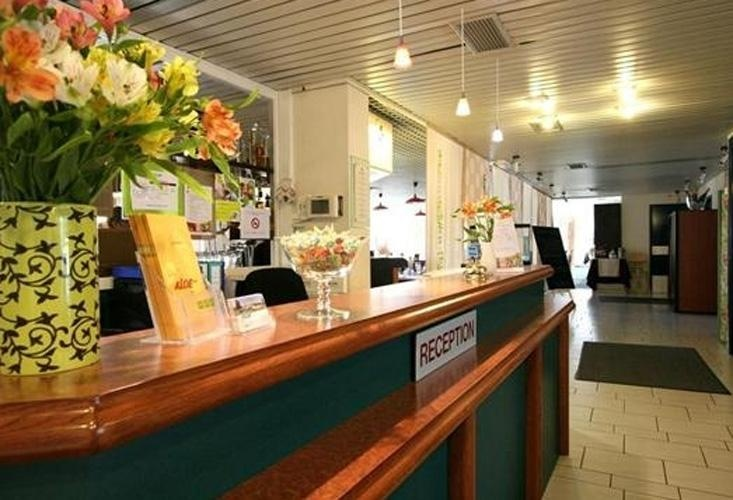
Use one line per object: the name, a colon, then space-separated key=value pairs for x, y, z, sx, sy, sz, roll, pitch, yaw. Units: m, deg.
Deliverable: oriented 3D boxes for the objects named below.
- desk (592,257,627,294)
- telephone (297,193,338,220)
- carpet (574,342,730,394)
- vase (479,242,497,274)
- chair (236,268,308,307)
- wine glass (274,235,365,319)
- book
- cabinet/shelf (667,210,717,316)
desk: x=6.478 y=0.625 z=13.430 sx=0.773 sy=0.866 sz=0.797 roll=0 pitch=3 yaw=23
telephone: x=-0.497 y=-0.465 z=5.442 sx=0.478 sy=0.238 sz=0.134 roll=0 pitch=3 yaw=23
carpet: x=2.923 y=1.195 z=5.391 sx=1.258 sy=0.027 sz=1.725 roll=0 pitch=3 yaw=24
vase: x=0.731 y=0.045 z=3.075 sx=0.069 sy=0.189 sz=0.177 roll=0 pitch=3 yaw=30
chair: x=-0.573 y=0.218 z=3.116 sx=0.293 sy=0.364 sz=0.299 roll=1 pitch=-16 yaw=-25
wine glass: x=-0.135 y=0.066 z=1.750 sx=0.251 sy=0.293 sz=0.328 roll=-4 pitch=3 yaw=-36
book: x=-0.538 y=0.069 z=1.326 sx=0.095 sy=0.310 sz=0.233 roll=-8 pitch=1 yaw=14
cabinet/shelf: x=5.854 y=0.226 z=9.113 sx=0.646 sy=1.781 sz=1.862 roll=1 pitch=-4 yaw=24
